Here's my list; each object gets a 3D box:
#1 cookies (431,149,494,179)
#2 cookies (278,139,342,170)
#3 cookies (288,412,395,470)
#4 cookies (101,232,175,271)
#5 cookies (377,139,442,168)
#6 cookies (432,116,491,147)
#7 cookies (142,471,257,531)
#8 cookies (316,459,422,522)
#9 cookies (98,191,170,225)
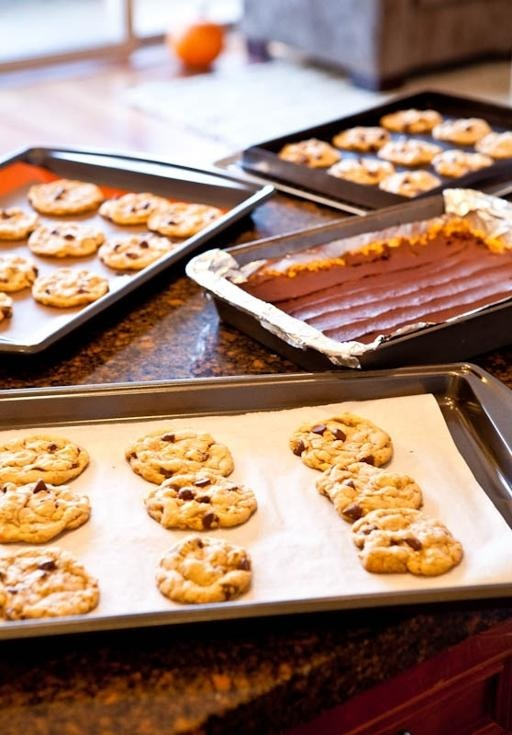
[{"bbox_3d":[0.619,-0.621,2.093,0.219,0.029,0.148,-18,39,-23],"label":"cookies"},{"bbox_3d":[0.169,-0.665,2.134,0.184,0.045,0.162,0,30,-3],"label":"cookies"},{"bbox_3d":[0.130,0.109,1.016,0.133,0.020,0.130,24,41,37],"label":"cookies"},{"bbox_3d":[-0.277,-0.275,1.605,0.123,0.021,0.133,12,31,20],"label":"cookies"},{"bbox_3d":[0.475,-0.685,2.180,0.159,0.022,0.134,-3,34,-2],"label":"cookies"},{"bbox_3d":[0.681,-0.781,2.290,0.142,0.028,0.147,-7,34,1],"label":"cookies"},{"bbox_3d":[-0.075,0.172,0.903,0.098,0.016,0.074,4,27,6],"label":"cookies"},{"bbox_3d":[0.170,0.175,0.933,0.123,0.104,0.019,25,-19,-16],"label":"cookies"},{"bbox_3d":[-0.320,-0.416,1.789,0.124,0.014,0.127,6,31,9],"label":"cookies"}]
